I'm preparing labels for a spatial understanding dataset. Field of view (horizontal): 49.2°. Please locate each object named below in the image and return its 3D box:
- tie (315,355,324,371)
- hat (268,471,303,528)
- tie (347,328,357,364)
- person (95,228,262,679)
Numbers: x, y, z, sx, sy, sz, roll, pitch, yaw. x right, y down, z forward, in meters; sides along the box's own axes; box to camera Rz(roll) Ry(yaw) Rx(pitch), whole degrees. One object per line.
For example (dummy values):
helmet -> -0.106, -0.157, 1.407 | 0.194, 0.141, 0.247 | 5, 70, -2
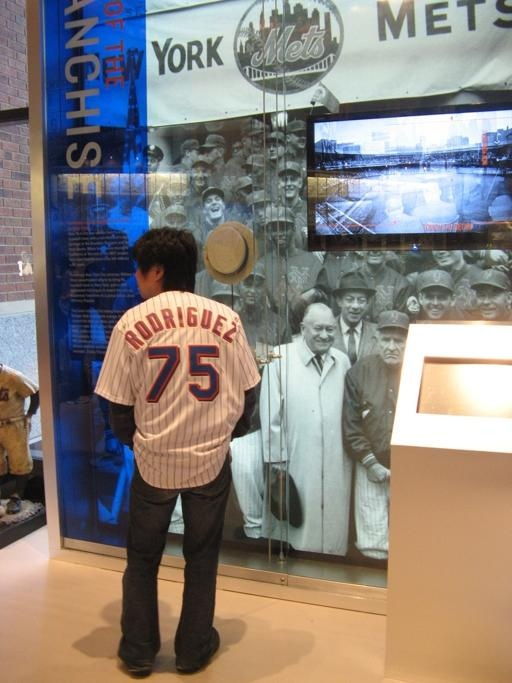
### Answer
tie -> 0.242, 0.082, 2.148 | 0.030, 0.054, 0.014 | -1, -4, 32
hat -> 0.115, 0.629, 2.250 | 0.120, 0.248, 0.071 | -4, 8, 14
tie -> 0.364, 0.026, 2.113 | 0.024, 0.103, 0.071 | 0, 10, -15
person -> -0.227, 0.459, 1.729 | 0.472, 1.217, 0.301 | -1, 3, 1
